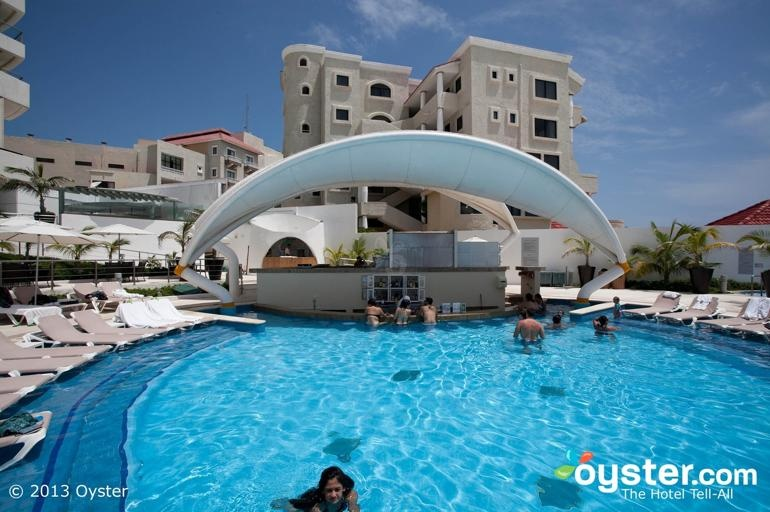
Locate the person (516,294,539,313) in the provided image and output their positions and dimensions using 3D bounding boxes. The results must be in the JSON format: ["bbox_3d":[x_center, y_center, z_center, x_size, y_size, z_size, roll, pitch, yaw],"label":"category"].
[{"bbox_3d":[6.372,2.108,19.225,0.850,0.974,0.737,7,8,21],"label":"person"}]

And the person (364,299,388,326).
[{"bbox_3d":[-0.363,2.247,17.380,0.829,1.023,0.712,-1,0,14],"label":"person"}]

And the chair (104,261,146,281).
[{"bbox_3d":[-15.562,0.853,25.827,2.199,1.138,3.031,0,0,-23],"label":"chair"}]

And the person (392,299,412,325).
[{"bbox_3d":[0.689,2.209,17.350,0.537,0.989,0.670,-1,0,33],"label":"person"}]

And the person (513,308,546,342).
[{"bbox_3d":[5.474,2.656,16.473,0.964,1.359,0.787,-3,-34,16],"label":"person"}]

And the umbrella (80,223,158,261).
[{"bbox_3d":[-17.411,-0.847,28.129,3.138,1.781,3.121,1,0,-34],"label":"umbrella"}]

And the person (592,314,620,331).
[{"bbox_3d":[8.495,2.588,16.762,0.740,0.303,0.988,3,9,33],"label":"person"}]

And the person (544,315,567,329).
[{"bbox_3d":[6.874,2.622,17.269,0.655,0.286,0.775,0,-11,10],"label":"person"}]
